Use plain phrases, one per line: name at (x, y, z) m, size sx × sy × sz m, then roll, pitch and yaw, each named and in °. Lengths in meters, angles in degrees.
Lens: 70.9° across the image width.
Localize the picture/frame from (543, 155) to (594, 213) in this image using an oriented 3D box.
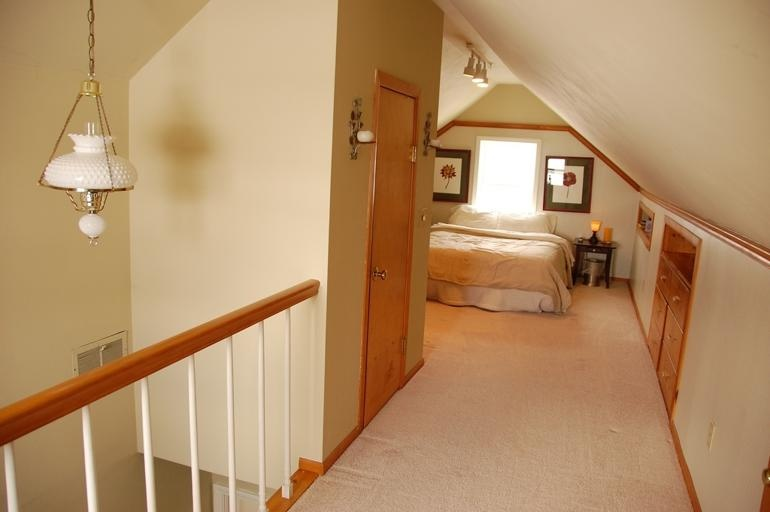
picture/frame at (2.750, -1.090, 8.029) m, size 0.768 × 0.978 × 0.062 m, roll 5°, pitch 11°, yaw 26°

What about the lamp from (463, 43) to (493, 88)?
lamp at (1.037, -2.174, 6.100) m, size 0.151 × 0.332 × 0.676 m, roll 16°, pitch -6°, yaw 26°

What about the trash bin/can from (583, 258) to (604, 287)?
trash bin/can at (2.915, 0.224, 7.599) m, size 0.234 × 0.366 × 0.275 m, roll 8°, pitch 13°, yaw 33°

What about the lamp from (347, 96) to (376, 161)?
lamp at (-0.126, -0.797, 3.366) m, size 0.110 × 0.382 × 0.252 m, roll 5°, pitch 11°, yaw 20°

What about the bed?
bed at (1.501, -0.056, 7.313) m, size 1.988 × 1.015 × 2.281 m, roll 5°, pitch 11°, yaw 19°

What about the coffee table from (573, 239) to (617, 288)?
coffee table at (2.976, 0.123, 7.866) m, size 0.673 × 0.853 × 0.654 m, roll 5°, pitch 11°, yaw 31°

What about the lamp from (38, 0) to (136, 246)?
lamp at (-1.641, -0.694, 2.949) m, size 0.446 × 1.395 × 1.009 m, roll -6°, pitch 13°, yaw -31°
